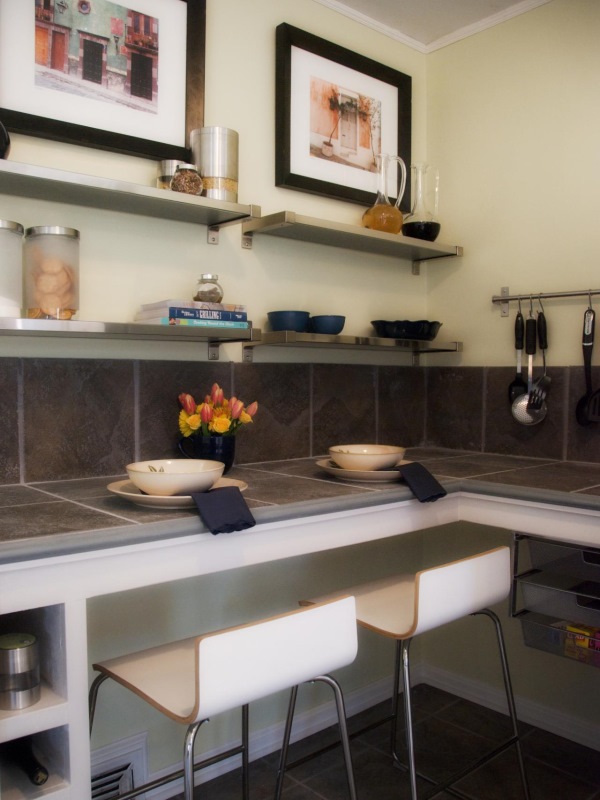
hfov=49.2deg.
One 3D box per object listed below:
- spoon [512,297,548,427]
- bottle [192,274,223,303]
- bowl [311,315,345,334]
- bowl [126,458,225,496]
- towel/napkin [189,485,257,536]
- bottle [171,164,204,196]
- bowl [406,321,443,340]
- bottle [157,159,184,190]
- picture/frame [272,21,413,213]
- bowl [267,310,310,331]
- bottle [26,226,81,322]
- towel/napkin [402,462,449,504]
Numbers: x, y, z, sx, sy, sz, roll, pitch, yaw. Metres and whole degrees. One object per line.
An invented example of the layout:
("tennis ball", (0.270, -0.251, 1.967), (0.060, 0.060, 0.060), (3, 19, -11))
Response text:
("spoon", (0.797, -0.122, 2.281), (0.089, 0.421, 0.161), (0, -4, -14))
("bottle", (-0.253, -0.300, 1.827), (0.086, 0.083, 0.087), (-7, -12, -6))
("bowl", (0.087, -0.235, 2.045), (0.110, 0.073, 0.101), (-1, -3, 0))
("bowl", (-0.271, 0.166, 1.426), (0.191, 0.063, 0.333), (0, -3, -10))
("towel/napkin", (-0.147, 0.207, 1.248), (0.102, 0.076, 0.072), (2, -4, -37))
("bottle", (-0.292, -0.574, 1.745), (0.091, 0.085, 0.080), (-1, 5, -22))
("bowl", (0.442, -0.241, 2.287), (0.075, 0.046, 0.093), (3, -2, -39))
("bottle", (-0.346, -0.598, 1.714), (0.076, 0.084, 0.075), (-4, 9, -35))
("picture/frame", (0.129, -0.994, 2.294), (0.065, 0.717, 0.876), (-2, -2, 43))
("bowl", (-0.036, -0.241, 2.015), (0.124, 0.065, 0.104), (-1, -3, 0))
("bottle", (-0.558, -0.286, 1.478), (0.110, 0.208, 0.065), (1, -4, -22))
("towel/napkin", (0.313, 0.217, 1.692), (0.118, 0.104, 0.161), (-1, -3, 12))
